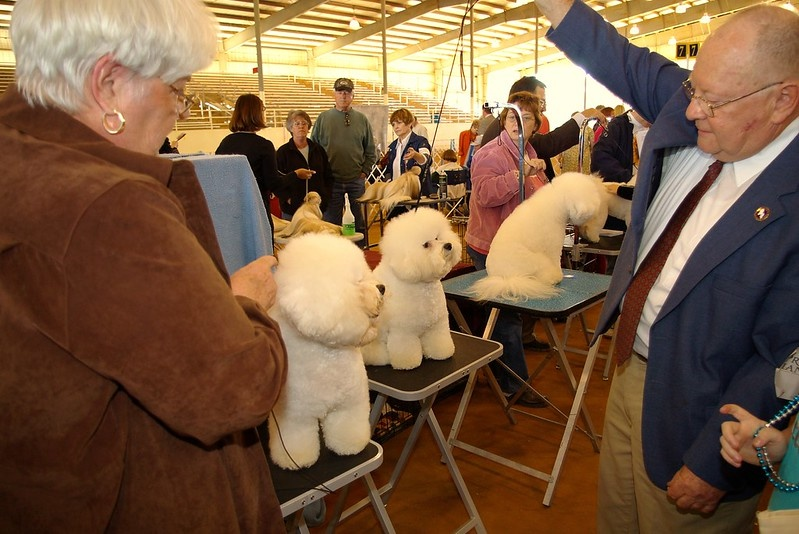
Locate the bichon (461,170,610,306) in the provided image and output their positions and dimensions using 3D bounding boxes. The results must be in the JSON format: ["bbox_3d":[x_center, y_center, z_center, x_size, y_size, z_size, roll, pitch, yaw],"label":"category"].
[{"bbox_3d":[0.803,-0.172,3.368,0.952,0.688,0.535,-14,26,-15],"label":"bichon"}]

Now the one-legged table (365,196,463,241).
[{"bbox_3d":[0.204,-0.772,7.710,1.313,0.850,1.389,0,4,14],"label":"one-legged table"}]

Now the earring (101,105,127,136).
[{"bbox_3d":[-0.610,-0.311,1.230,0.052,0.049,0.012,18,-1,-15],"label":"earring"}]

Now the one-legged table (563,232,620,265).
[{"bbox_3d":[1.495,-0.174,4.396,0.406,0.098,0.416,9,17,34],"label":"one-legged table"}]
